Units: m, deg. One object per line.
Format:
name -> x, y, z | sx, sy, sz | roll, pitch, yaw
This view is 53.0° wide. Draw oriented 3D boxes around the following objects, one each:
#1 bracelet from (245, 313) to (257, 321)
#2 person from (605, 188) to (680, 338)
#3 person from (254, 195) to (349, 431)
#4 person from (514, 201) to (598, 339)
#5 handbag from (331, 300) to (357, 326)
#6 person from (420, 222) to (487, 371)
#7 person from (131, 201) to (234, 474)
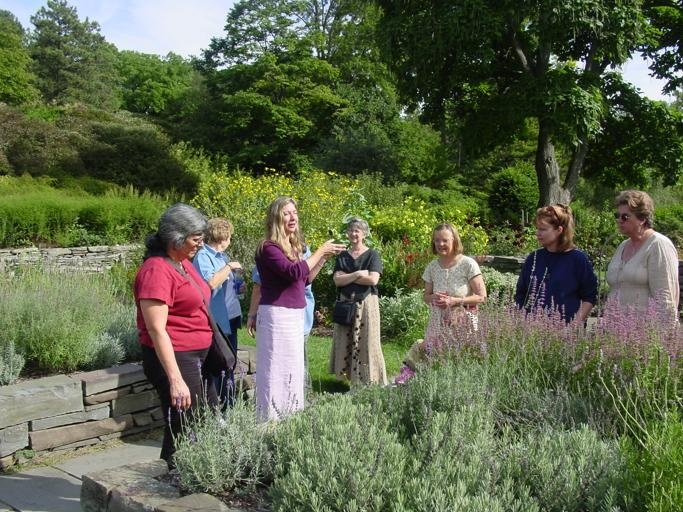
bracelet -> -0.952, 0.658, 7.317 | 0.130, 0.098, 0.124 | -3, -5, 38
person -> 2.743, 0.001, 6.244 | 0.621, 1.288, 1.211 | -1, -3, 21
person -> -0.473, 0.486, 6.442 | 0.654, 2.120, 0.690 | 2, -3, -20
person -> 2.056, 0.110, 6.616 | 0.741, 1.294, 0.686 | 0, 16, 20
handbag -> 0.044, 0.652, 7.785 | 0.301, 0.332, 0.165 | 1, -8, 27
person -> 1.141, 0.296, 6.927 | 0.640, 1.309, 1.005 | 0, -3, 8
person -> -1.363, 0.657, 5.843 | 0.795, 2.232, 0.528 | 1, -3, -20
